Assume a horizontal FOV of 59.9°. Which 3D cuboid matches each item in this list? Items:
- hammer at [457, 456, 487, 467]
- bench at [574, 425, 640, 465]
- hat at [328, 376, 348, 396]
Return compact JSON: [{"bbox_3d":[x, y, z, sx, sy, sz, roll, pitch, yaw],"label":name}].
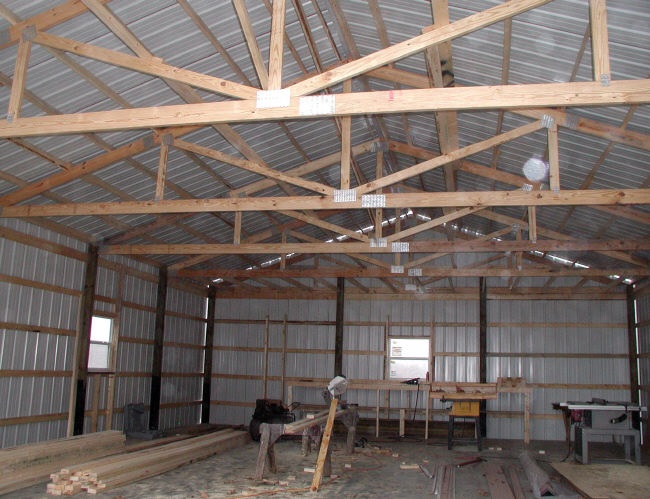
[{"bbox_3d":[2.773,4.058,10.803,0.741,0.168,0.146,0,-17,-27],"label":"hammer"},{"bbox_3d":[5.770,4.013,11.606,1.765,0.663,1.383,-4,-21,19],"label":"bench"},{"bbox_3d":[0.192,2.415,9.984,0.309,0.313,0.444,-1,-12,-2],"label":"hat"}]
